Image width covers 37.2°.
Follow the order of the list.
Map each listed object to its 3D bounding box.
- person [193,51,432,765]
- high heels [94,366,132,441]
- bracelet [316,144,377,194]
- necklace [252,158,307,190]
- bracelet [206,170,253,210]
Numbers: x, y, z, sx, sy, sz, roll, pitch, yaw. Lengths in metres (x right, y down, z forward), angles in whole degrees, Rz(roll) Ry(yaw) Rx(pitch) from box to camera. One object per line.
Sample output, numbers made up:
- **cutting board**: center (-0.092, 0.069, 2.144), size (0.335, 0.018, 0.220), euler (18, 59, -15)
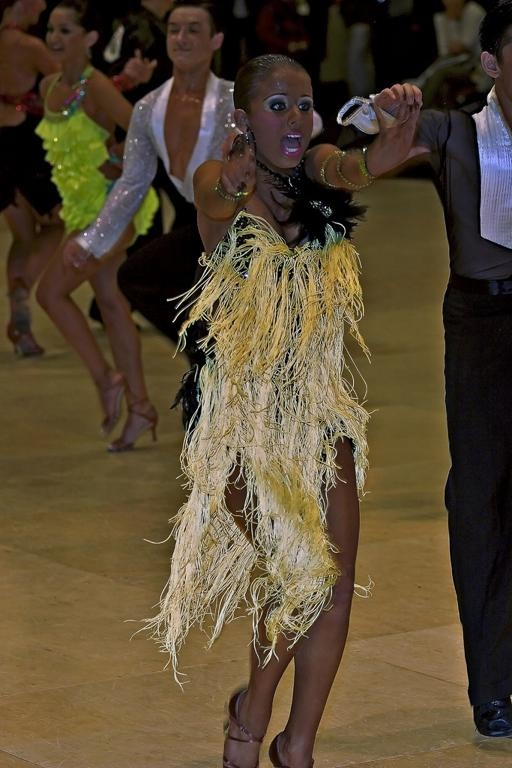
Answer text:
- **person**: center (0.091, 0.082, 1.275), size (0.395, 1.219, 0.312), euler (1, 3, -2)
- **high heels**: center (-0.378, 0.042, 2.079), size (0.075, 0.166, 0.064), euler (5, 21, 18)
- **bracelet**: center (0.153, -0.388, 1.354), size (0.075, 0.039, 0.093), euler (10, 20, -6)
- **necklace**: center (0.041, -0.343, 1.268), size (0.071, 0.052, 0.039), euler (46, 8, 8)
- **bracelet**: center (-0.033, -0.290, 1.125), size (0.045, 0.023, 0.049), euler (24, 0, -6)
